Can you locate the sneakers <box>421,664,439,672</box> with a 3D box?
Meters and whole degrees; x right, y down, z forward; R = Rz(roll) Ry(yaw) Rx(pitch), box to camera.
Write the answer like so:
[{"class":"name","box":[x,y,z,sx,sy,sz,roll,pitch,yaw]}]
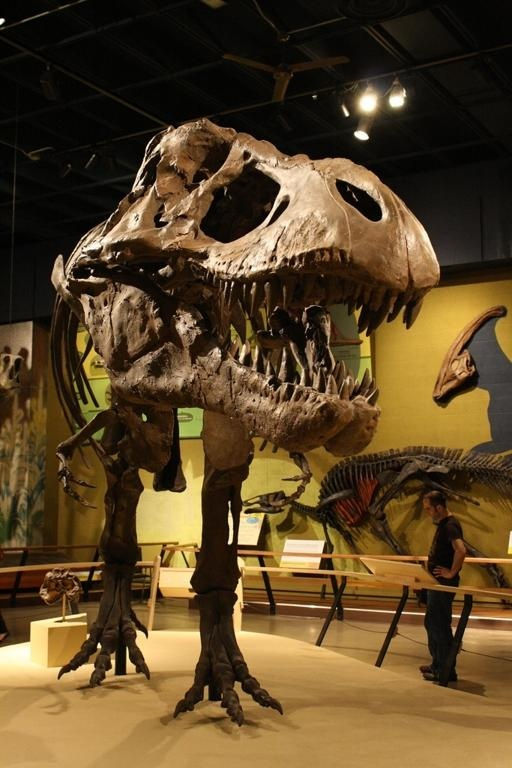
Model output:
[{"class":"sneakers","box":[1.285,2.130,4.592,0.146,0.060,0.053,-22,-3,34]}]
